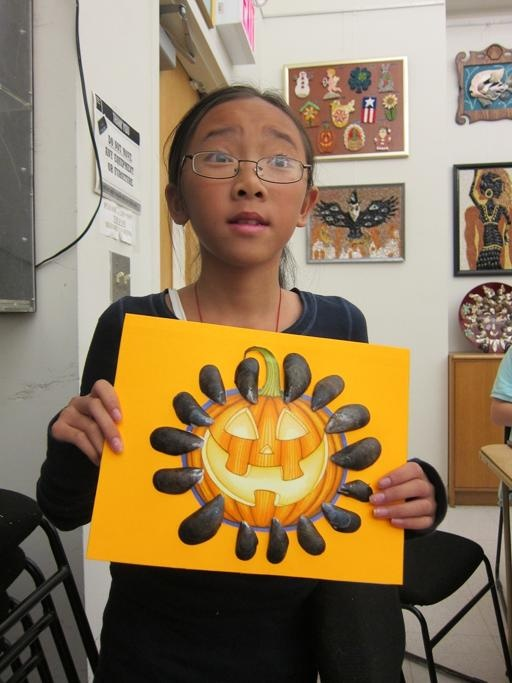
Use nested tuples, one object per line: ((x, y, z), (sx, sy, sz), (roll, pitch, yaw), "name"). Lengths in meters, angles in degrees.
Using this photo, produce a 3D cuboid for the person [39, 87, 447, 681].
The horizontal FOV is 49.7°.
((-0.041, 0.041, 0.745), (0.505, 0.814, 0.369), (0, 4, -13), "person")
